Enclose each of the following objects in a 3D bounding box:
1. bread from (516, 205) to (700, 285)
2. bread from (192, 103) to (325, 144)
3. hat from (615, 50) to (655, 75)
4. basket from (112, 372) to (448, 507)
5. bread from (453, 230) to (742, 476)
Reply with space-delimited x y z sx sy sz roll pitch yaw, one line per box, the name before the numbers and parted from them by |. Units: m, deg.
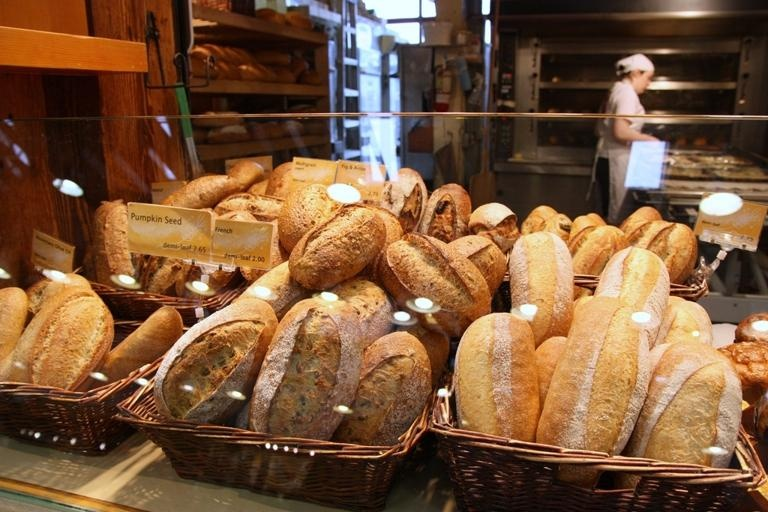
bread | 0.825 -0.062 2.035 0.472 0.152 0.318 2 2 7
bread | -0.484 -0.468 2.147 0.590 0.126 0.113 9 18 24
hat | 1.694 -1.296 3.900 0.232 0.112 0.165 6 15 13
basket | -0.279 0.447 1.595 0.474 0.130 0.430 3 3 10
bread | 0.625 0.158 1.610 0.562 0.225 0.685 4 33 10
